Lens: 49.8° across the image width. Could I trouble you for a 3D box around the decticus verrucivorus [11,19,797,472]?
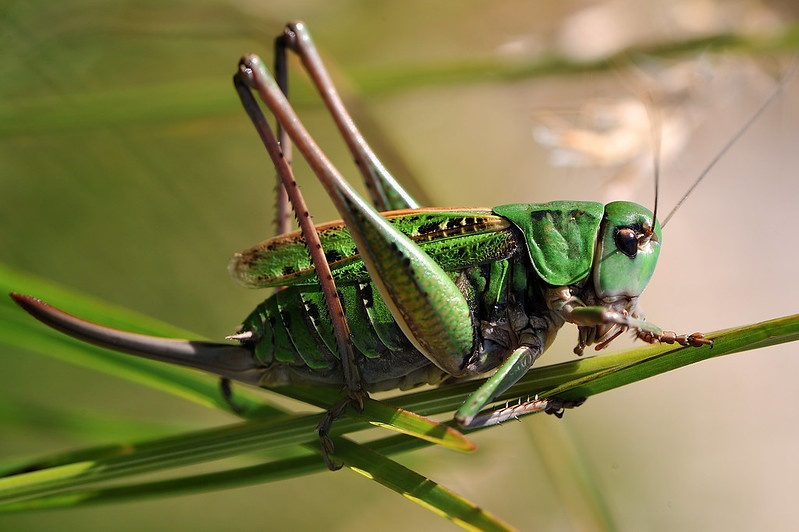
[{"bbox_3d":[0.024,-0.069,3.714,2.934,1.467,0.999,-5,8,-5],"label":"decticus verrucivorus"}]
